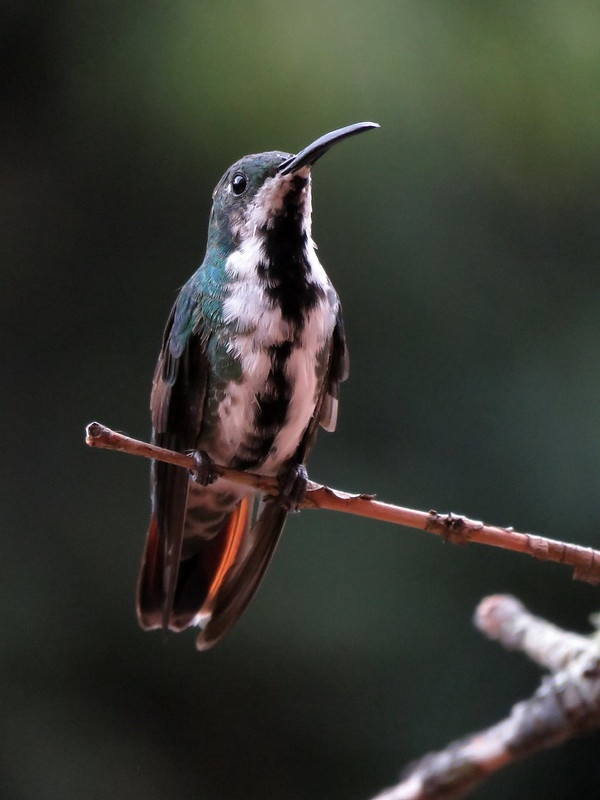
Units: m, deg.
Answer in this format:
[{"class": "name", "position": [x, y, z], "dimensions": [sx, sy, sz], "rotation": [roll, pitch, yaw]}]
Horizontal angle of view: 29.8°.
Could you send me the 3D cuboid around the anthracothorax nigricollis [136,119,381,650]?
[{"class": "anthracothorax nigricollis", "position": [-0.060, -0.003, 1.775], "dimensions": [0.308, 0.655, 0.304], "rotation": [8, 4, -20]}]
